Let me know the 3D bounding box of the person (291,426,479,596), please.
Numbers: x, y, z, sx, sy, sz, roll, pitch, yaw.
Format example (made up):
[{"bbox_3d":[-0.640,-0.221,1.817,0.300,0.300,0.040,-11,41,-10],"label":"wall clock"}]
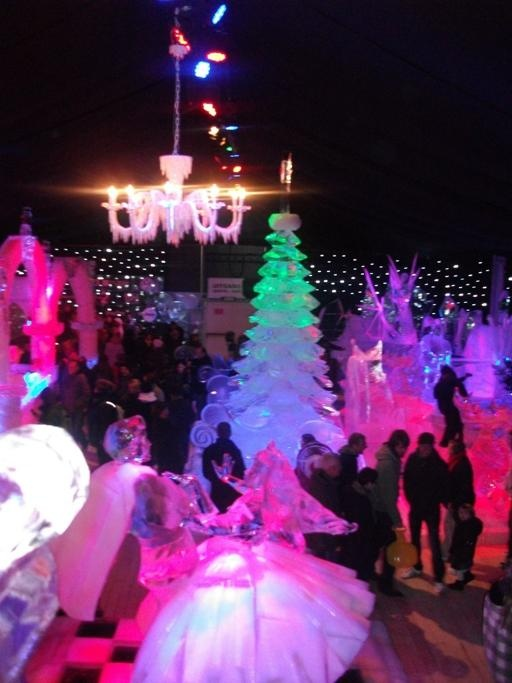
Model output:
[{"bbox_3d":[0.671,1.187,4.327,1.456,1.140,0.828,0,-4,-9],"label":"person"}]

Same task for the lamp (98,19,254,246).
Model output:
[{"bbox_3d":[-0.878,-2.295,6.480,1.794,2.311,1.600,-7,24,-22],"label":"lamp"}]
